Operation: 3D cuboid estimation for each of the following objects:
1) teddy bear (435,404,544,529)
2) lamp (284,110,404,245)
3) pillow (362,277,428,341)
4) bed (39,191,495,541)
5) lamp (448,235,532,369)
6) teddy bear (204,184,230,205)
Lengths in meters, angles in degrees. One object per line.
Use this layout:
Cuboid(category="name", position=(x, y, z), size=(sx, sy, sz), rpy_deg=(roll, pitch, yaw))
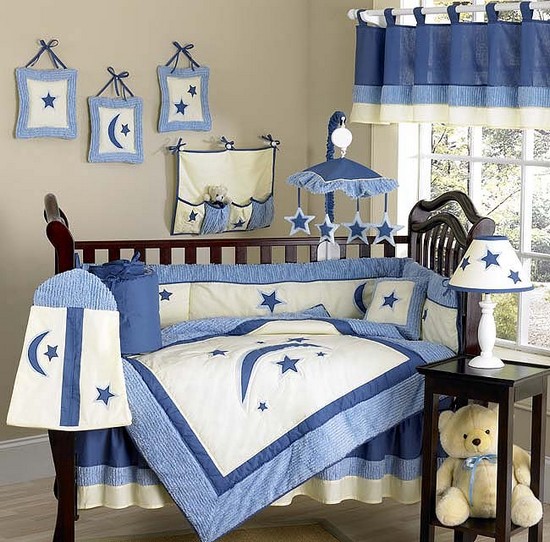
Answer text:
Cuboid(category="teddy bear", position=(0.683, 0.599, 2.396), size=(0.385, 0.462, 0.359), rpy_deg=(-1, -4, 17))
Cuboid(category="lamp", position=(0.288, -0.400, 3.070), size=(0.445, 0.596, 0.454), rpy_deg=(-2, 11, -9))
Cuboid(category="pillow", position=(0.496, 0.131, 2.833), size=(0.225, 0.239, 0.069), rpy_deg=(12, -9, 44))
Cuboid(category="bed", position=(-0.018, 0.378, 2.551), size=(1.189, 0.987, 0.455), rpy_deg=(-2, 3, -21))
Cuboid(category="lamp", position=(0.691, 0.099, 2.261), size=(0.231, 0.419, 0.224), rpy_deg=(-2, 6, -12))
Cuboid(category="teddy bear", position=(-0.305, -0.394, 3.682), size=(0.112, 0.058, 0.086), rpy_deg=(13, -48, -35))
